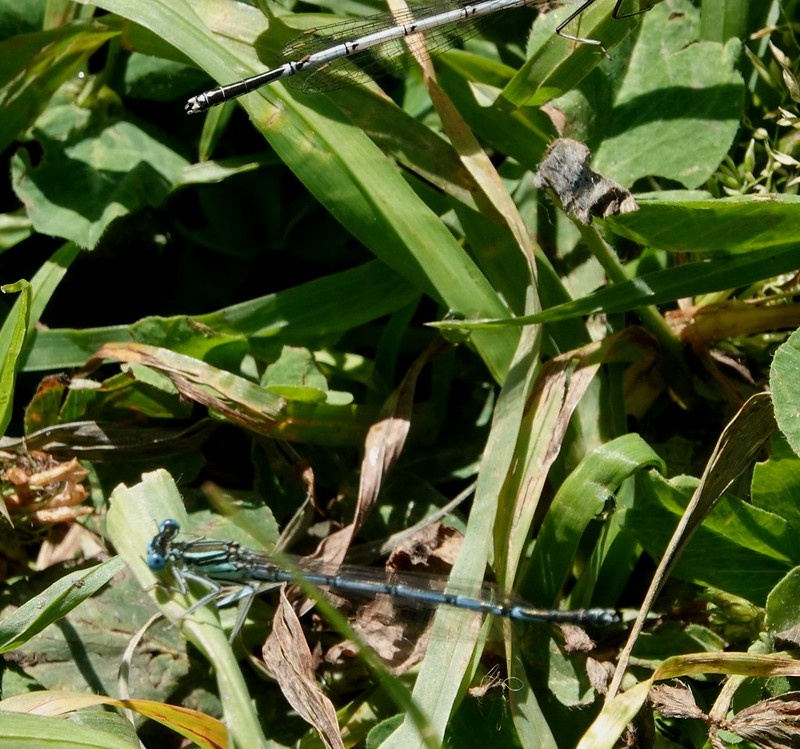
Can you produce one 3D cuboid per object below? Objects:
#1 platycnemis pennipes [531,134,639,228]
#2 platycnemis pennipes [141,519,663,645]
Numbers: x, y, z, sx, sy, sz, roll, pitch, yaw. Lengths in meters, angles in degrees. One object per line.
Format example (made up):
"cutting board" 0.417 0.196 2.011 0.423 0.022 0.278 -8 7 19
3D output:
"platycnemis pennipes" 0.274 -0.292 1.405 0.170 0.103 0.070 42 8 28
"platycnemis pennipes" 0.001 0.334 1.473 0.601 0.160 0.161 7 54 1
